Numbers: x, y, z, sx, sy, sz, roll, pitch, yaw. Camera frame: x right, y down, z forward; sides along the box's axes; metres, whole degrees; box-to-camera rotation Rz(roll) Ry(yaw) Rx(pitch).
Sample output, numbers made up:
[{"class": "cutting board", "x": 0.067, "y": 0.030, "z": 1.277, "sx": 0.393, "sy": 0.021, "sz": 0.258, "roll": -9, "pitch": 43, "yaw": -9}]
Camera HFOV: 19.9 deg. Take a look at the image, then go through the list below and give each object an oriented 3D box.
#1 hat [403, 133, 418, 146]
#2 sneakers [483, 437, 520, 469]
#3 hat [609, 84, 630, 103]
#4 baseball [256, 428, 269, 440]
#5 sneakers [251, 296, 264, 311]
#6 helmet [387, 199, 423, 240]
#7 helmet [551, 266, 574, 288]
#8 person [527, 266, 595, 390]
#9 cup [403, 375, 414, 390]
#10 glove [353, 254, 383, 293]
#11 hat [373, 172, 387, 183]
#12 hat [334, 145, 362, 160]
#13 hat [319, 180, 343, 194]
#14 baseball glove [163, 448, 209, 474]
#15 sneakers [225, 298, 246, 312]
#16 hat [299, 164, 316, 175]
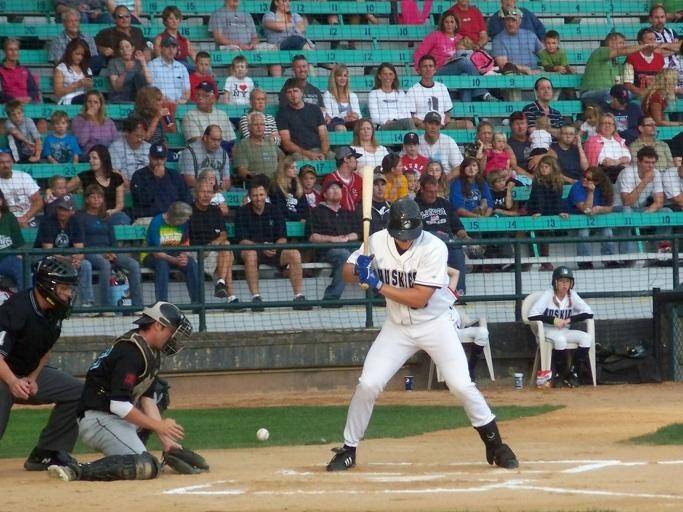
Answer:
[{"class": "hat", "x": 1.122, "y": -1.874, "z": 31.434, "sx": 0.142, "sy": 0.221, "sz": 0.214, "roll": -1, "pitch": -21, "yaw": -2}, {"class": "sneakers", "x": 2.074, "y": 2.632, "z": 25.350, "sx": 0.235, "sy": 0.231, "sz": 0.501, "roll": -6, "pitch": 6, "yaw": -29}, {"class": "hat", "x": 4.711, "y": -2.747, "z": 33.179, "sx": 0.243, "sy": 0.343, "sz": 0.204, "roll": -25, "pitch": -39, "yaw": -6}, {"class": "baseball", "x": -1.063, "y": 2.495, "z": 26.870, "sx": 0.144, "sy": 0.120, "sz": 0.145, "roll": 3, "pitch": -11, "yaw": -26}, {"class": "sneakers", "x": -1.311, "y": 0.770, "z": 30.210, "sx": 0.148, "sy": 0.269, "sz": 0.259, "roll": 1, "pitch": -21, "yaw": -7}, {"class": "helmet", "x": 0.838, "y": -0.471, "z": 25.508, "sx": 0.372, "sy": 0.568, "sz": 0.293, "roll": -2, "pitch": -32, "yaw": 5}, {"class": "helmet", "x": 3.423, "y": 0.351, "z": 30.307, "sx": 0.246, "sy": 0.286, "sz": 0.335, "roll": 1, "pitch": -18, "yaw": -3}, {"class": "person", "x": 3.409, "y": 1.131, "z": 30.271, "sx": 0.918, "sy": 1.506, "sz": 0.403, "roll": -2, "pitch": -1, "yaw": 6}, {"class": "cup", "x": 1.055, "y": 2.023, "z": 30.411, "sx": 0.171, "sy": 0.217, "sz": 0.176, "roll": 1, "pitch": -8, "yaw": 0}, {"class": "glove", "x": 0.351, "y": 0.246, "z": 25.545, "sx": 0.155, "sy": 0.430, "sz": 0.425, "roll": -37, "pitch": -1, "yaw": 28}, {"class": "hat", "x": 0.603, "y": -1.208, "z": 30.544, "sx": 0.222, "sy": 0.144, "sz": 0.325, "roll": 3, "pitch": -5, "yaw": -8}, {"class": "hat", "x": 0.101, "y": -1.641, "z": 31.013, "sx": 0.308, "sy": 0.176, "sz": 0.209, "roll": -13, "pitch": 12, "yaw": -7}, {"class": "hat", "x": -0.140, "y": -1.070, "z": 30.665, "sx": 0.296, "sy": 0.172, "sz": 0.261, "roll": -2, "pitch": -1, "yaw": -6}, {"class": "baseball glove", "x": -1.996, "y": 2.709, "z": 25.280, "sx": 0.546, "sy": 0.254, "sz": 0.284, "roll": 15, "pitch": -23, "yaw": -6}, {"class": "sneakers", "x": -1.654, "y": 0.785, "z": 30.161, "sx": 0.143, "sy": 0.170, "sz": 0.380, "roll": -4, "pitch": 3, "yaw": -9}, {"class": "hat", "x": -0.532, "y": -1.352, "z": 30.964, "sx": 0.247, "sy": 0.130, "sz": 0.212, "roll": -2, "pitch": -1, "yaw": -4}]
